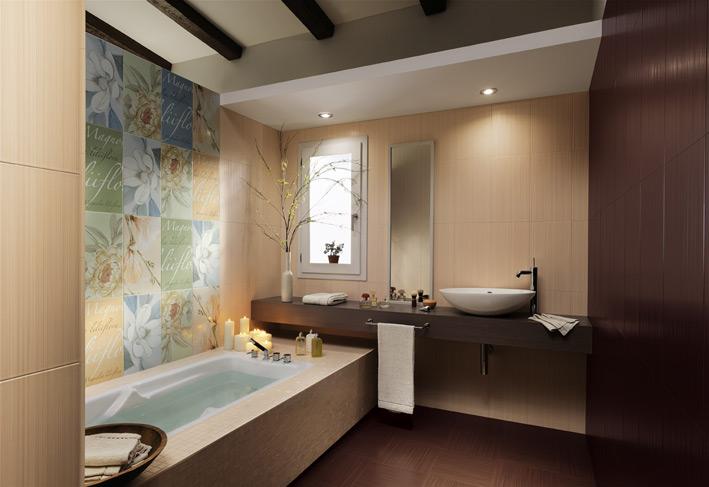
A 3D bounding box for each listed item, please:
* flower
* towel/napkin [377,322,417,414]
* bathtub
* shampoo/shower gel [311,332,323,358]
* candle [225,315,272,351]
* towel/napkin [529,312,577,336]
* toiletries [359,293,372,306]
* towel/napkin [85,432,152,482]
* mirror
[{"bbox_3d":[-0.387,-0.428,4.495,1.156,1.068,0.925,1,-1,-43],"label":"flower"},{"bbox_3d":[0.309,0.961,3.677,0.312,0.671,0.186,2,7,18],"label":"towel/napkin"},{"bbox_3d":[-1.126,0.992,3.281,1.335,0.239,0.674,-6,9,-41],"label":"bathtub"},{"bbox_3d":[-0.297,0.809,3.755,0.086,0.163,0.183,0,7,-4],"label":"shampoo/shower gel"},{"bbox_3d":[-0.886,0.779,3.933,0.312,0.237,0.270,1,1,10],"label":"candle"},{"bbox_3d":[1.401,0.579,3.316,0.308,0.101,0.254,2,7,17],"label":"towel/napkin"},{"bbox_3d":[0.100,0.486,4.041,0.086,0.093,0.088,-2,-1,34],"label":"toiletries"},{"bbox_3d":[-1.080,0.957,2.188,0.301,0.092,0.302,1,0,21],"label":"towel/napkin"},{"bbox_3d":[0.485,-0.174,4.095,0.419,1.485,0.049,-1,-15,16],"label":"mirror"}]
